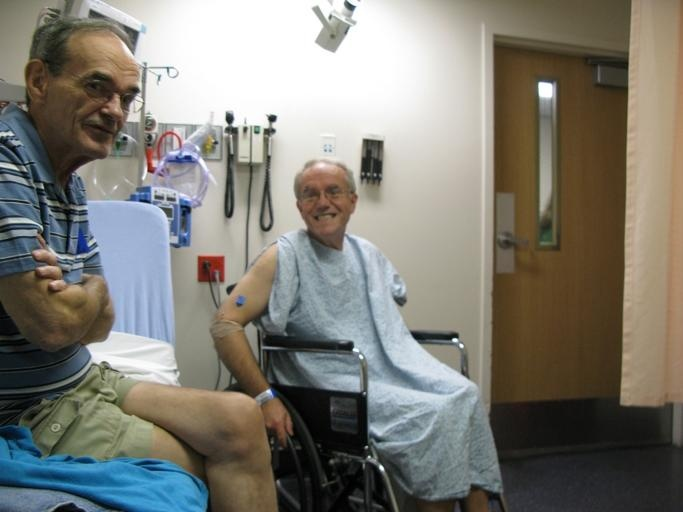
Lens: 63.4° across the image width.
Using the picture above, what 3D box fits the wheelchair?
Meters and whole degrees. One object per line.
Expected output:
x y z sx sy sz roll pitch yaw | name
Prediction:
0.125 0.577 2.505 0.698 1.276 1.247 3 -7 -38 | wheelchair

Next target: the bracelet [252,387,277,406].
-0.284 0.516 2.025 0.068 0.024 0.070 -14 11 32 | bracelet
